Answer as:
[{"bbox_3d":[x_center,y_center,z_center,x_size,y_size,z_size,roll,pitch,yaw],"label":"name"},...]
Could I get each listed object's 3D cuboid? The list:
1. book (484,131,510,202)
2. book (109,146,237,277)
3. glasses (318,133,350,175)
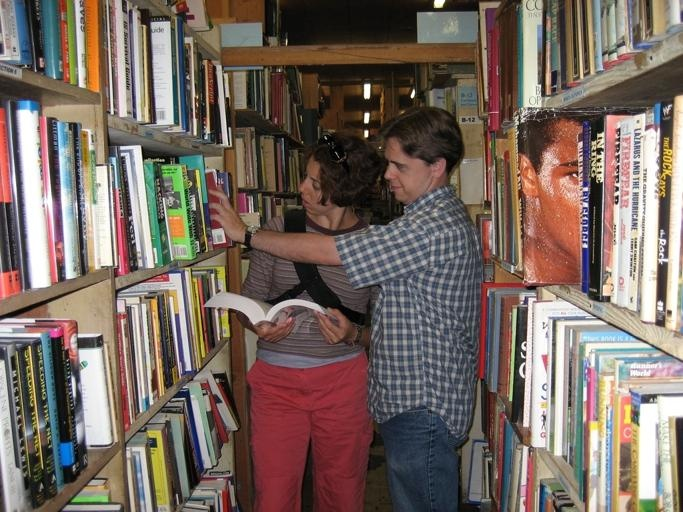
[{"bbox_3d":[0.575,-0.348,2.219,0.067,0.195,0.269,3,-85,3],"label":"book"},{"bbox_3d":[-0.492,-0.126,1.746,0.084,0.335,0.333,3,-82,27],"label":"book"},{"bbox_3d":[-0.011,-0.385,2.266,0.042,0.134,0.137,-41,-35,-11],"label":"glasses"}]
